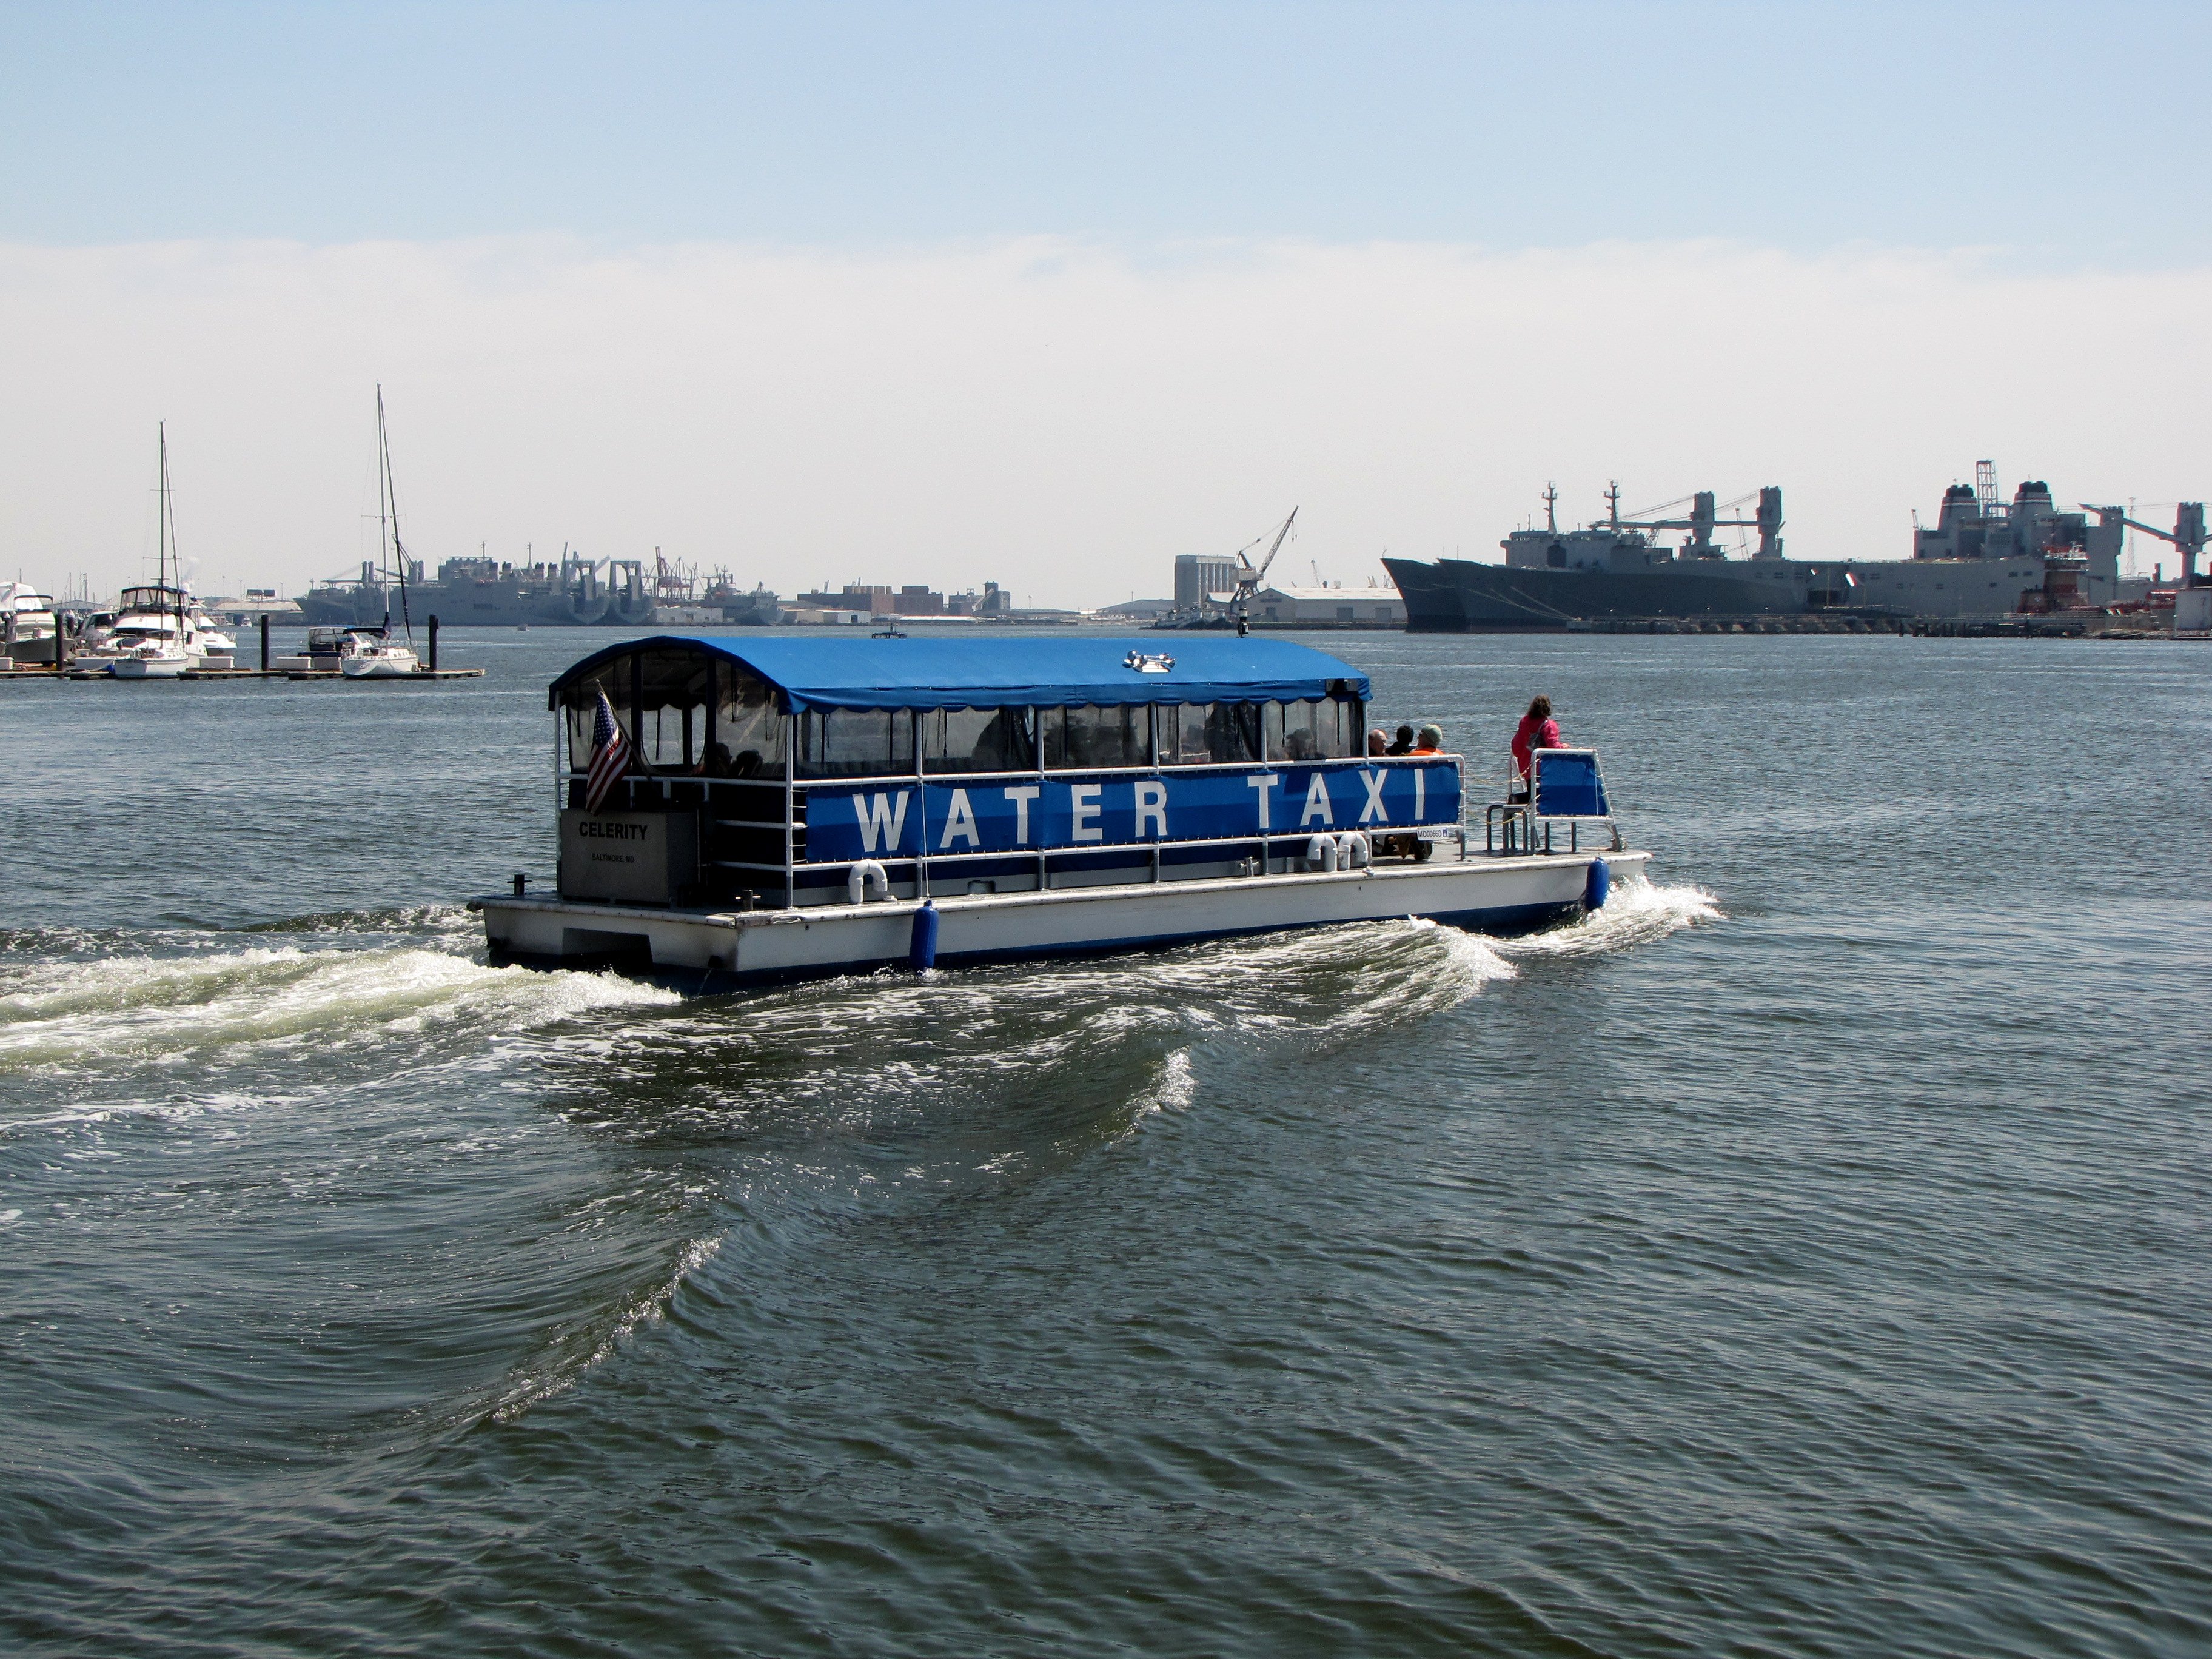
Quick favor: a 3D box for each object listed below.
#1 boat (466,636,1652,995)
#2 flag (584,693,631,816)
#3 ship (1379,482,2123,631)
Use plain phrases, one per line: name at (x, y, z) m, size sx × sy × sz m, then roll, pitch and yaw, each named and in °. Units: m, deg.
boat at (-0.770, -0.417, 28.466) m, size 17.254 × 3.477 × 4.778 m, roll -1°, pitch 2°, yaw -13°
flag at (-5.349, -0.822, 27.336) m, size 0.495 × 1.224 × 0.549 m, roll -1°, pitch 14°, yaw -9°
ship at (67.439, -28.486, 265.062) m, size 76.770 × 14.086 × 13.145 m, roll 0°, pitch -1°, yaw -6°
